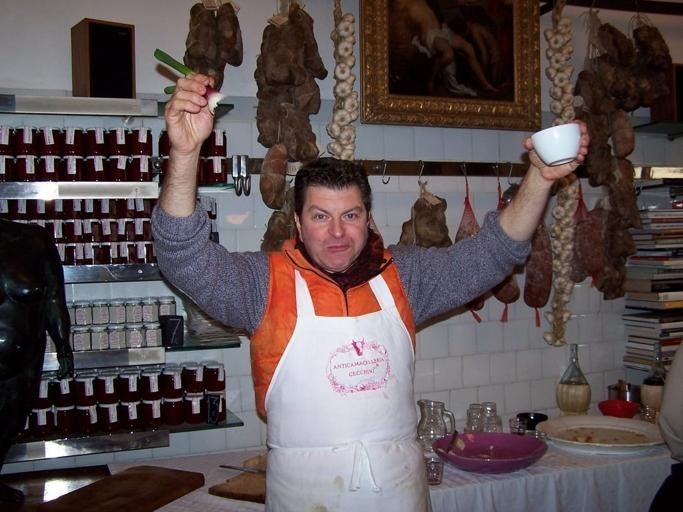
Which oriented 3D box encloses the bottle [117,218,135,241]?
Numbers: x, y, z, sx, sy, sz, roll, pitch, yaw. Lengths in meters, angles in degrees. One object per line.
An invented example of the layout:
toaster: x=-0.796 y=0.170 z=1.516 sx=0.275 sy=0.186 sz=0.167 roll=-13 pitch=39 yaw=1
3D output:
bottle: x=-1.083 y=-0.131 z=2.945 sx=0.093 sy=0.110 sz=0.095 roll=2 pitch=-4 yaw=-20

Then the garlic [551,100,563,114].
garlic: x=1.420 y=-0.976 z=3.826 sx=0.085 sy=0.089 sz=0.030 roll=23 pitch=21 yaw=38

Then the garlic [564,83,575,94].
garlic: x=1.498 y=-1.108 z=3.824 sx=0.067 sy=0.070 sz=0.029 roll=-20 pitch=8 yaw=-18

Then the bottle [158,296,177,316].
bottle: x=-0.909 y=0.264 z=3.037 sx=0.084 sy=0.089 sz=0.084 roll=0 pitch=-2 yaw=-37

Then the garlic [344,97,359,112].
garlic: x=0.063 y=-0.883 z=3.383 sx=0.076 sy=0.082 sz=0.034 roll=2 pitch=8 yaw=-32

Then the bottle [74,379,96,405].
bottle: x=-1.252 y=0.666 z=2.879 sx=0.113 sy=0.135 sz=0.117 roll=1 pitch=-3 yaw=-15

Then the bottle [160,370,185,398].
bottle: x=-0.863 y=0.654 z=2.987 sx=0.118 sy=0.140 sz=0.124 roll=0 pitch=-4 yaw=-13

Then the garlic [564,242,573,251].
garlic: x=1.496 y=-0.060 z=3.827 sx=0.050 sy=0.055 sz=0.029 roll=-3 pitch=-29 yaw=1

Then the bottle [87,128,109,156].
bottle: x=-1.206 y=-0.558 z=2.874 sx=0.117 sy=0.140 sz=0.117 roll=-1 pitch=-2 yaw=-7

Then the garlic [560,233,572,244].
garlic: x=1.483 y=-0.115 z=3.820 sx=0.067 sy=0.073 sz=0.026 roll=7 pitch=6 yaw=11

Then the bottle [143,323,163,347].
bottle: x=-0.957 y=0.404 z=2.952 sx=0.106 sy=0.152 sz=0.102 roll=0 pitch=-7 yaw=0

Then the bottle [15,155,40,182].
bottle: x=-1.506 y=-0.423 z=2.850 sx=0.110 sy=0.135 sz=0.116 roll=-1 pitch=-3 yaw=6

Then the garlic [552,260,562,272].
garlic: x=1.434 y=0.070 z=3.856 sx=0.066 sy=0.072 sz=0.031 roll=7 pitch=5 yaw=35

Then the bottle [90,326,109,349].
bottle: x=-1.201 y=0.407 z=2.903 sx=0.099 sy=0.120 sz=0.101 roll=2 pitch=-3 yaw=-20

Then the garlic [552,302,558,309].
garlic: x=1.433 y=0.335 z=3.901 sx=0.037 sy=0.037 sz=0.013 roll=-35 pitch=-6 yaw=41

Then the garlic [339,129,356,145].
garlic: x=0.042 y=-0.700 z=3.437 sx=0.085 sy=0.120 sz=0.091 roll=2 pitch=-21 yaw=-8

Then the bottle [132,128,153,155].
bottle: x=-1.000 y=-0.571 z=2.931 sx=0.115 sy=0.144 sz=0.120 roll=-1 pitch=-2 yaw=0

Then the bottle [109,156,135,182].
bottle: x=-1.095 y=-0.436 z=2.947 sx=0.110 sy=0.131 sz=0.115 roll=0 pitch=-4 yaw=-2

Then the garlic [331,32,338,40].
garlic: x=-0.041 y=-1.302 z=3.422 sx=0.036 sy=0.050 sz=0.013 roll=3 pitch=5 yaw=37

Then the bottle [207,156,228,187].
bottle: x=-0.644 y=-0.447 z=3.047 sx=0.117 sy=0.191 sz=0.122 roll=-1 pitch=-3 yaw=0

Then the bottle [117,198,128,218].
bottle: x=-1.105 y=-0.239 z=2.942 sx=0.079 sy=0.080 sz=0.020 roll=-1 pitch=-1 yaw=4

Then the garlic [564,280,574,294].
garlic: x=1.507 y=0.210 z=3.841 sx=0.067 sy=0.072 sz=0.022 roll=1 pitch=4 yaw=7

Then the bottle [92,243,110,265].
bottle: x=-1.201 y=-0.015 z=2.897 sx=0.087 sy=0.097 sz=0.027 roll=1 pitch=-2 yaw=9

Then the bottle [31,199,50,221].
bottle: x=-1.476 y=-0.224 z=2.853 sx=0.101 sy=0.101 sz=0.024 roll=0 pitch=0 yaw=-35

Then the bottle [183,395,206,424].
bottle: x=-0.754 y=0.793 z=3.006 sx=0.124 sy=0.149 sz=0.130 roll=0 pitch=-6 yaw=-2

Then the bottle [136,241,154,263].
bottle: x=-1.002 y=-0.015 z=2.996 sx=0.094 sy=0.117 sz=0.096 roll=2 pitch=-7 yaw=-25

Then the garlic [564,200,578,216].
garlic: x=1.501 y=-0.320 z=3.819 sx=0.096 sy=0.103 sz=0.047 roll=-6 pitch=13 yaw=-24

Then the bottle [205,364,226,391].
bottle: x=-0.660 y=0.654 z=3.110 sx=0.112 sy=0.140 sz=0.123 roll=-1 pitch=-5 yaw=-4

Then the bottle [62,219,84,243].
bottle: x=-1.331 y=-0.119 z=2.890 sx=0.104 sy=0.126 sz=0.098 roll=-2 pitch=-8 yaw=0

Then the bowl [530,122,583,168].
bowl: x=0.710 y=-0.370 z=1.961 sx=0.142 sy=0.102 sz=0.141 roll=-11 pitch=-10 yaw=-2

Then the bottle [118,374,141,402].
bottle: x=-1.066 y=0.671 z=2.926 sx=0.116 sy=0.139 sz=0.121 roll=-6 pitch=-8 yaw=35

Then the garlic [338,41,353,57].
garlic: x=0.031 y=-1.201 z=3.360 sx=0.079 sy=0.085 sz=0.033 roll=-14 pitch=19 yaw=-9

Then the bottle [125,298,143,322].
bottle: x=-1.050 y=0.271 z=2.967 sx=0.091 sy=0.152 sz=0.097 roll=0 pitch=-8 yaw=0
